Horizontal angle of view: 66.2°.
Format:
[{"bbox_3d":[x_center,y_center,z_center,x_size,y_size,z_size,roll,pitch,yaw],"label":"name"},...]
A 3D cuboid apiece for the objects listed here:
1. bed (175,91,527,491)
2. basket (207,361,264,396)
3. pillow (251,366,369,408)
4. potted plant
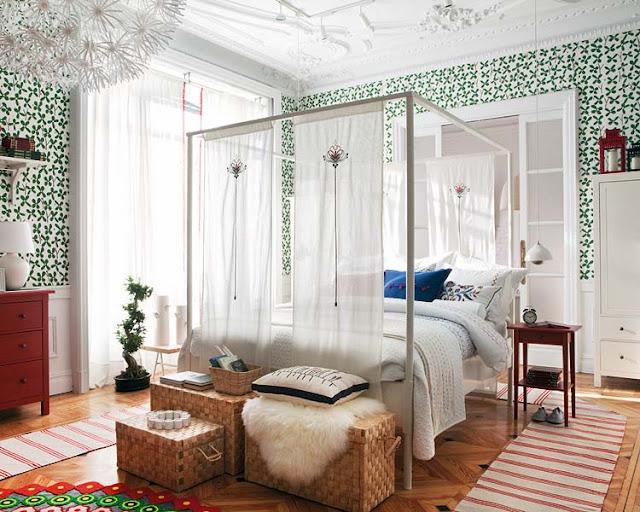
[{"bbox_3d":[0.224,0.105,4.624,2.580,2.932,2.982,-1,-2,33],"label":"bed"},{"bbox_3d":[-0.504,0.743,2.957,0.170,0.095,0.224,-3,-6,33],"label":"basket"},{"bbox_3d":[-0.052,0.721,2.800,0.554,0.159,0.400,1,2,34],"label":"pillow"},{"bbox_3d":[-1.727,0.700,4.531,0.331,1.014,0.508,-1,3,-22],"label":"potted plant"}]
